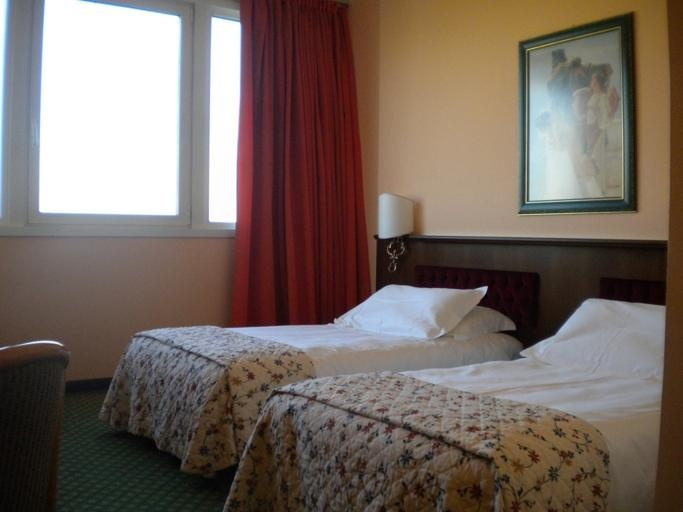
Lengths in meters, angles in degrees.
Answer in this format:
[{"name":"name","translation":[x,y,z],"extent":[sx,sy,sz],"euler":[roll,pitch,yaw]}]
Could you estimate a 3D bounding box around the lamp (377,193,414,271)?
[{"name":"lamp","translation":[0.440,-0.188,4.623],"extent":[0.341,0.672,0.279],"euler":[3,5,25]}]
